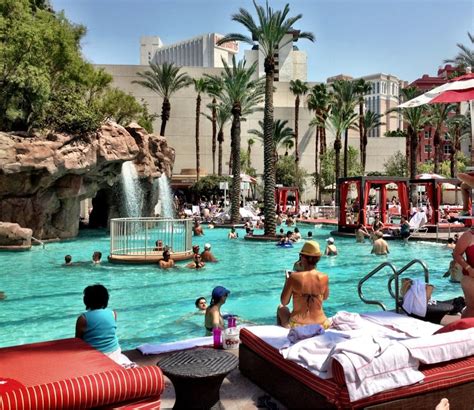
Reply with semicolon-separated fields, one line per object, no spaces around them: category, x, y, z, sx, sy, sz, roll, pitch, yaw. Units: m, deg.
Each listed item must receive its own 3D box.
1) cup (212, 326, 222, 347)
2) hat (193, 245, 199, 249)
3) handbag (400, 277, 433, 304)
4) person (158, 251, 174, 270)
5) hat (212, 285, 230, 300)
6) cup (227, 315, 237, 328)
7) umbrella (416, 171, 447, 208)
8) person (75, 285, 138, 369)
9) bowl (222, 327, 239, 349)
cup;-0.224;1.623;5.220;0.103;0.230;0.100;0;2;0
hat;-1.386;1.451;14.788;0.119;0.108;0.172;0;0;-23
handbag;2.518;1.144;5.918;0.275;0.237;0.400;8;5;36
person;-2.268;1.692;13.639;0.472;0.515;0.729;0;3;-12
hat;-0.195;1.168;5.810;0.270;0.181;0.195;-3;4;-44
cup;-0.056;1.457;5.332;0.090;0.124;0.158;0;3;-10
umbrella;11.342;-0.706;24.266;1.994;1.731;2.034;1;-6;-35
person;-1.479;1.212;4.661;0.688;1.099;0.902;-2;8;-19
bowl;-0.069;1.607;5.158;0.177;0.219;0.210;1;-5;-2
